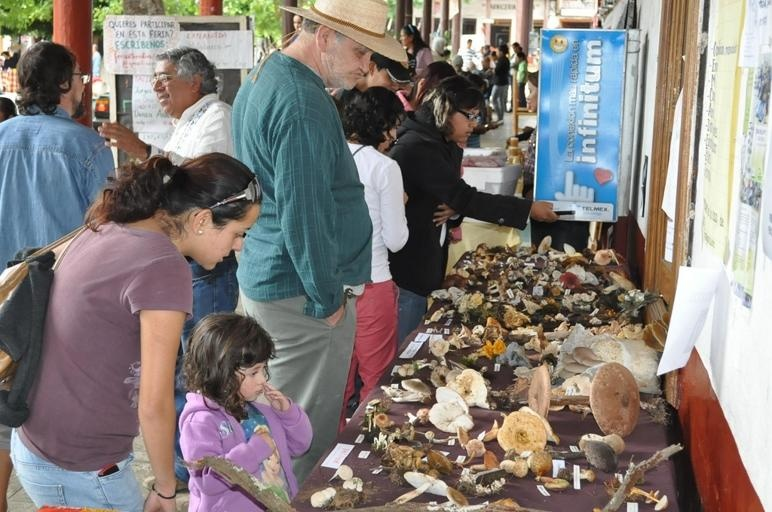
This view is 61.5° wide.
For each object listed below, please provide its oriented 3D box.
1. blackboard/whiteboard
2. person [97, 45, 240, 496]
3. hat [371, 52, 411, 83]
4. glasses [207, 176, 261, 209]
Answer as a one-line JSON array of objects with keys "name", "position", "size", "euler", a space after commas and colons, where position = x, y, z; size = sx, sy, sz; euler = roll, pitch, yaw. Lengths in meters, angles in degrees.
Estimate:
[{"name": "blackboard/whiteboard", "position": [-2.289, -1.738, 7.136], "size": [1.529, 1.907, 0.106], "euler": [-16, 52, -32]}, {"name": "person", "position": [-1.256, -0.166, 4.251], "size": [0.704, 2.243, 0.681], "euler": [-8, 5, -9]}, {"name": "hat", "position": [0.050, -1.434, 4.993], "size": [0.370, 0.114, 0.247], "euler": [41, 16, 3]}, {"name": "glasses", "position": [-0.533, -0.215, 2.346], "size": [0.206, 0.069, 0.179], "euler": [-21, 15, 9]}]
